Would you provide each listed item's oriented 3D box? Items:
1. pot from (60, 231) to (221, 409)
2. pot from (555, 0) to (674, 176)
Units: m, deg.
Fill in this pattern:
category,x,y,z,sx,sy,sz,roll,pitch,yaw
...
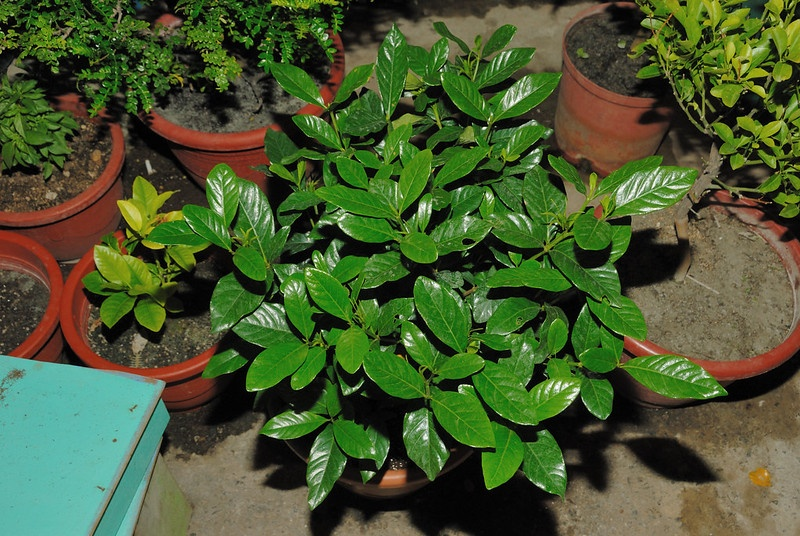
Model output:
category,x,y,z,sx,sy,sz,roll,pitch,yaw
pot,-1.657,0.522,4.489,1.081,0.868,1.151,-1,56,1
pot,1.632,-1.468,5.490,1.133,1.066,1.313,13,55,9
